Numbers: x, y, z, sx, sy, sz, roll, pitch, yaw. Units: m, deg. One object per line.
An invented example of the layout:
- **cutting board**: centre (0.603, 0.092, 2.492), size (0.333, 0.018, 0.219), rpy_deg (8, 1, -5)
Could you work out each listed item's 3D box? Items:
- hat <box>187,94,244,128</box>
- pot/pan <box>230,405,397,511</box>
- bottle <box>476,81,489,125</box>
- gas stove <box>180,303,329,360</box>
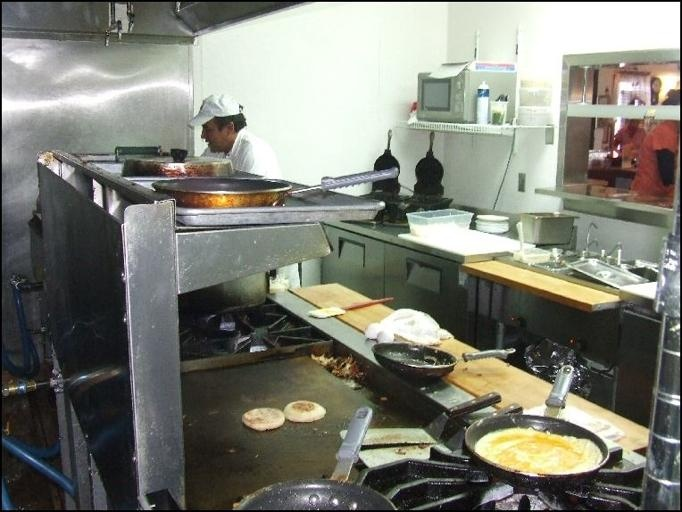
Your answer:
- **hat**: centre (-0.867, -0.992, 3.792), size (0.321, 0.144, 0.207), rpy_deg (-8, 17, -11)
- **pot/pan**: centre (-0.068, 0.495, 1.269), size (0.321, 0.188, 0.352), rpy_deg (-4, 14, -6)
- **bottle**: centre (1.032, -1.114, 4.032), size (0.097, 0.306, 0.202), rpy_deg (1, 15, 13)
- **gas stove**: centre (-0.368, 0.289, 2.209), size (0.530, 0.065, 0.560), rpy_deg (-6, 14, -17)
